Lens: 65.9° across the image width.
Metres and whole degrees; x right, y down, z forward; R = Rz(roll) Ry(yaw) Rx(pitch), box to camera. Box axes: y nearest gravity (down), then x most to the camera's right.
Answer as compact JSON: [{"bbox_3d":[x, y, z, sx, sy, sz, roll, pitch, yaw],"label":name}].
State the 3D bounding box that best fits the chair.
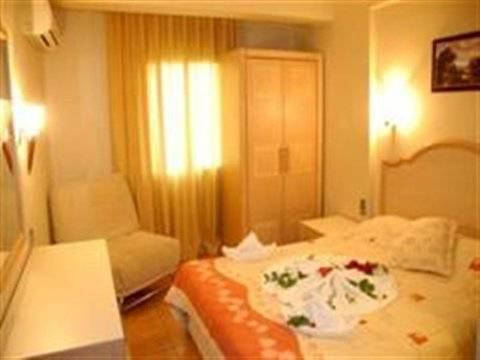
[{"bbox_3d":[-1.231,0.588,4.189,1.375,1.422,1.084,9,14,38],"label":"chair"}]
